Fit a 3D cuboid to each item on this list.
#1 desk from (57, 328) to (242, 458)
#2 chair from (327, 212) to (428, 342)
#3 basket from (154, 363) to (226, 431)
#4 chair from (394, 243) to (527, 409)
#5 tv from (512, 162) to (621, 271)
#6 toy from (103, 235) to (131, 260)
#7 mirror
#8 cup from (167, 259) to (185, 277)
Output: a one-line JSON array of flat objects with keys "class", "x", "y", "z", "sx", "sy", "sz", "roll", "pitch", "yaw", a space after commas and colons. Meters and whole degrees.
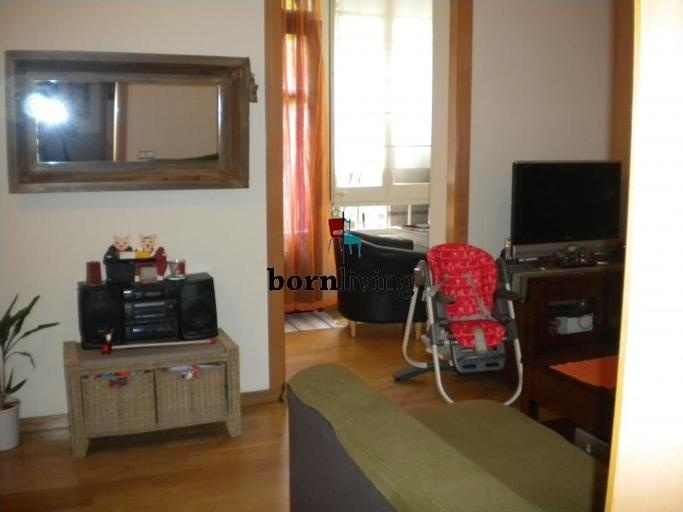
[{"class": "desk", "x": -1.015, "y": 0.713, "z": 3.132, "sx": 0.874, "sy": 0.551, "sz": 0.504, "roll": -1, "pitch": 8, "yaw": -18}, {"class": "chair", "x": 0.308, "y": 0.225, "z": 5.069, "sx": 0.801, "sy": 0.969, "sz": 0.941, "roll": 0, "pitch": 0, "yaw": -12}, {"class": "basket", "x": -0.760, "y": 0.744, "z": 3.081, "sx": 0.405, "sy": 0.328, "sz": 0.248, "roll": -7, "pitch": -14, "yaw": 7}, {"class": "chair", "x": 0.735, "y": 0.412, "z": 3.741, "sx": 0.877, "sy": 1.175, "sz": 0.937, "roll": -1, "pitch": 3, "yaw": -10}, {"class": "tv", "x": 1.599, "y": -0.301, "z": 4.067, "sx": 0.744, "sy": 0.580, "sz": 0.100, "roll": -3, "pitch": 6, "yaw": -22}, {"class": "toy", "x": -1.207, "y": -0.056, "z": 3.076, "sx": 0.159, "sy": 0.156, "sz": 0.117, "roll": -2, "pitch": 9, "yaw": -42}, {"class": "mirror", "x": -1.178, "y": -0.712, "z": 3.017, "sx": 1.107, "sy": 0.719, "sz": 0.057, "roll": -3, "pitch": 9, "yaw": -17}, {"class": "cup", "x": -0.908, "y": 0.059, "z": 3.129, "sx": 0.091, "sy": 0.095, "sz": 0.083, "roll": -6, "pitch": 15, "yaw": -37}]
